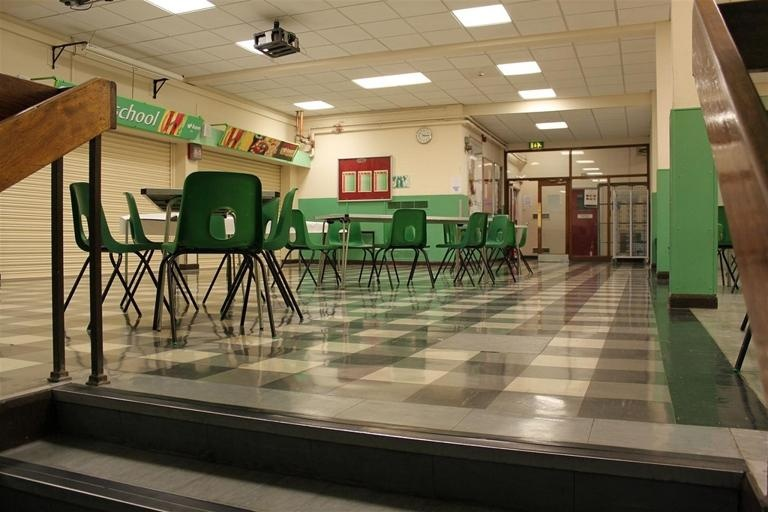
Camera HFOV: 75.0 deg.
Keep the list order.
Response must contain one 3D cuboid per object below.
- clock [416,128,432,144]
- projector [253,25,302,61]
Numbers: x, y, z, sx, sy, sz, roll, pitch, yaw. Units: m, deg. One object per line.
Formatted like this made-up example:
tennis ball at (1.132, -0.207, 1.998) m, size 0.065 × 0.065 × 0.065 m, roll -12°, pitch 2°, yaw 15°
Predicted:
clock at (1.052, -3.222, 13.312) m, size 0.434 × 0.380 × 0.097 m, roll 0°, pitch -3°, yaw 27°
projector at (-1.798, -3.681, 8.493) m, size 0.654 × 0.430 × 0.657 m, roll 1°, pitch 3°, yaw 23°
